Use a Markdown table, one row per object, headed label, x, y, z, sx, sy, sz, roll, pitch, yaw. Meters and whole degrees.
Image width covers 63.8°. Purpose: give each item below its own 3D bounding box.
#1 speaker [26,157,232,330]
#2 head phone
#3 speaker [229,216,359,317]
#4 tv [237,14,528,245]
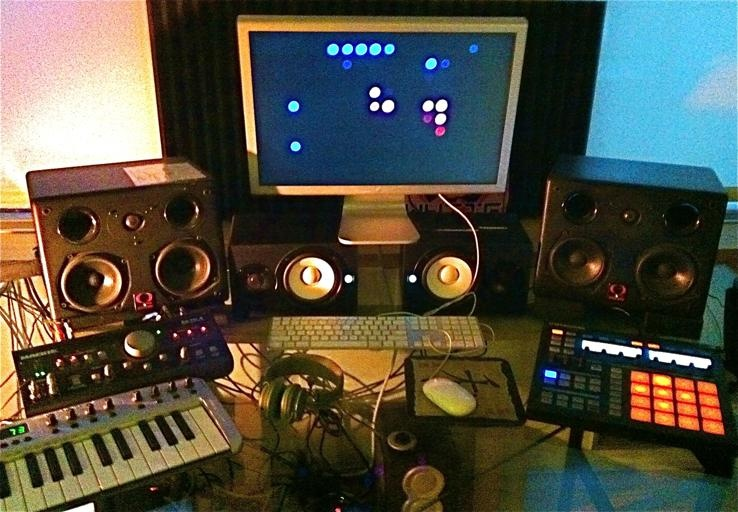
| label | x | y | z | sx | sy | sz | roll | pitch | yaw |
| --- | --- | --- | --- | --- | --- | --- | --- | --- | --- |
| speaker | -0.643 | -0.024 | 1.785 | 0.600 | 0.466 | 0.440 | -9 | 28 | -18 |
| head phone | -0.173 | 0.357 | 1.524 | 0.200 | 0.082 | 0.188 | 1 | 31 | 19 |
| speaker | -0.214 | 0.035 | 1.720 | 0.456 | 0.272 | 0.244 | 0 | 19 | -2 |
| tv | 0.032 | -0.357 | 1.636 | 0.769 | 0.533 | 0.294 | 0 | 34 | -2 |
